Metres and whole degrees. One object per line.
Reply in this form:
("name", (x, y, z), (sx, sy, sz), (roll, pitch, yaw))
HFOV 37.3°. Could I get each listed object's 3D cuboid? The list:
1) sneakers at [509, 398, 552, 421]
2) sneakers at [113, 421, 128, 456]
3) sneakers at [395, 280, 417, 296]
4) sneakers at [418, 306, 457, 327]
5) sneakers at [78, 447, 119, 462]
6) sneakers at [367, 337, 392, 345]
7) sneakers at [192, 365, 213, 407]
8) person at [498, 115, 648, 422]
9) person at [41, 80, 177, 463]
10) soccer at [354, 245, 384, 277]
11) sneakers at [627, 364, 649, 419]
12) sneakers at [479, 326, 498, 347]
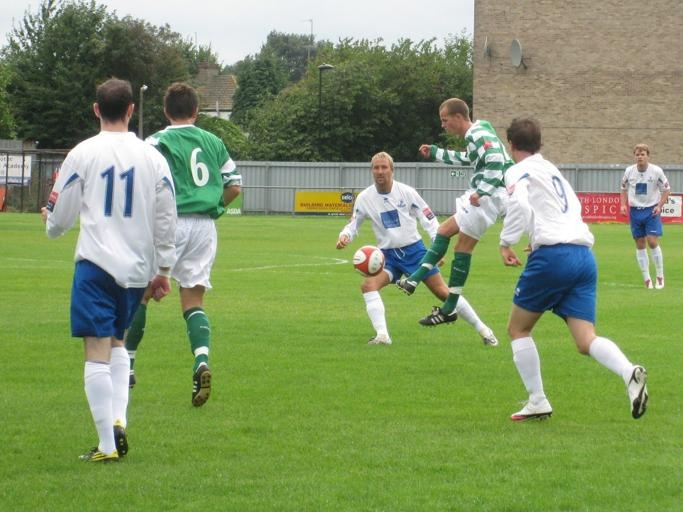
("sneakers", (1.610, 1.303, 8.582), (0.415, 0.209, 0.145), (-3, -3, -2))
("sneakers", (-1.650, 1.393, 7.714), (0.093, 0.249, 0.113), (-4, 7, 2))
("sneakers", (0.717, 0.332, 11.402), (0.122, 0.152, 0.296), (-4, 26, -42))
("sneakers", (1.140, 0.710, 11.473), (0.513, 0.254, 0.178), (-1, 1, -4))
("sneakers", (-1.806, 1.512, 7.662), (0.322, 0.129, 0.108), (4, -3, 8))
("sneakers", (0.435, 0.921, 11.157), (0.276, 0.087, 0.216), (-1, 8, -11))
("sneakers", (-1.155, 1.093, 8.360), (0.136, 0.338, 0.167), (8, 12, -16))
("person", (1.871, 0.120, 8.449), (1.272, 2.513, 0.622), (4, 9, 25))
("person", (-1.707, 0.056, 7.879), (0.919, 2.862, 0.794), (-6, 10, -39))
("soccer", (0.325, 0.068, 11.496), (0.345, 0.350, 0.279), (1, 8, 2))
("sneakers", (2.343, 1.101, 8.072), (0.147, 0.453, 0.187), (3, 8, 15))
("sneakers", (1.616, 0.901, 11.161), (0.110, 0.218, 0.170), (-42, -7, 27))
